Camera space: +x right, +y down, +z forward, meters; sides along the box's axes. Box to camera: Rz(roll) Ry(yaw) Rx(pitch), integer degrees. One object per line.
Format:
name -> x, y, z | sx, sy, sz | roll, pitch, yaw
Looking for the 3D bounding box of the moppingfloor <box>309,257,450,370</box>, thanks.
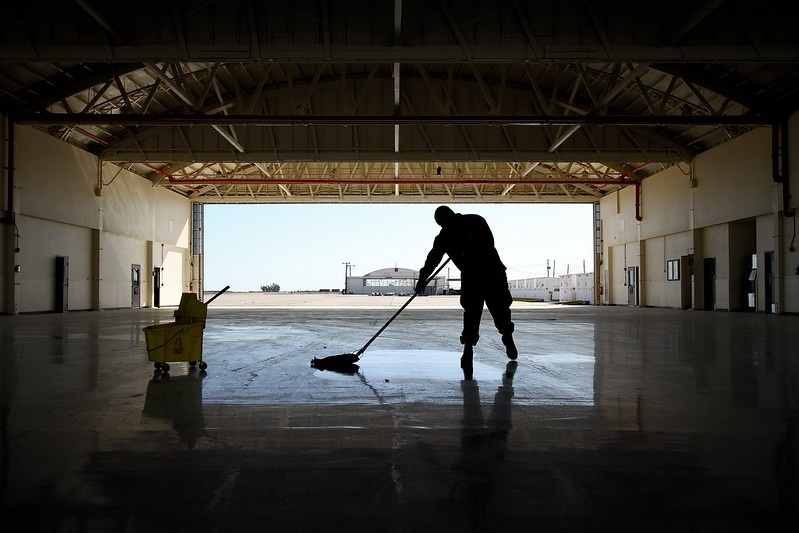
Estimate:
moppingfloor -> -0.299, 1.005, 10.270 | 1.420, 1.467, 3.693 | 2, 12, 15
